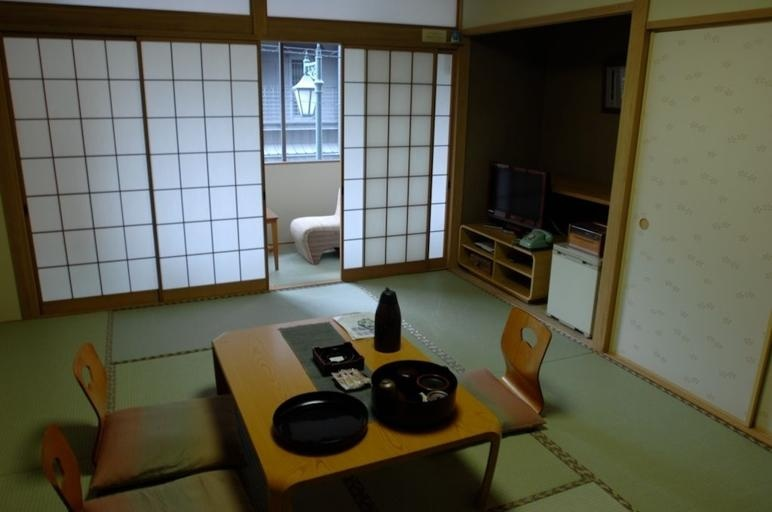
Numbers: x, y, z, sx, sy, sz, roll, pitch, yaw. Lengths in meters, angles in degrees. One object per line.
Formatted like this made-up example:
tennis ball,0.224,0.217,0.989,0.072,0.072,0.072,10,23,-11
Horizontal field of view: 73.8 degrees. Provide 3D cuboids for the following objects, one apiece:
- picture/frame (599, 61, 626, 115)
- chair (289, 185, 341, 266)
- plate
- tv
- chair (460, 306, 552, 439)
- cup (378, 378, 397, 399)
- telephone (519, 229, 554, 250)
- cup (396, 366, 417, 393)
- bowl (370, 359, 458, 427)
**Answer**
picture/frame,2.469,-1.841,5.577,0.101,0.530,0.318,-8,21,-16
chair,-0.892,-0.456,6.930,0.884,0.911,0.898,-2,18,-20
plate,-0.378,0.944,2.947,0.553,0.129,0.427,-3,20,-3
tv,1.480,-0.658,5.820,0.230,0.573,0.779,-7,16,-26
chair,0.913,0.899,3.890,0.584,0.860,0.576,-10,27,-23
cup,0.007,0.759,2.982,0.084,0.083,0.085,-2,17,1
telephone,1.620,-0.193,5.509,0.350,0.193,0.196,-6,20,-12
cup,0.131,0.757,3.196,0.101,0.101,0.101,2,22,-1
bowl,0.169,0.810,3.103,0.512,0.223,0.467,-2,20,1
